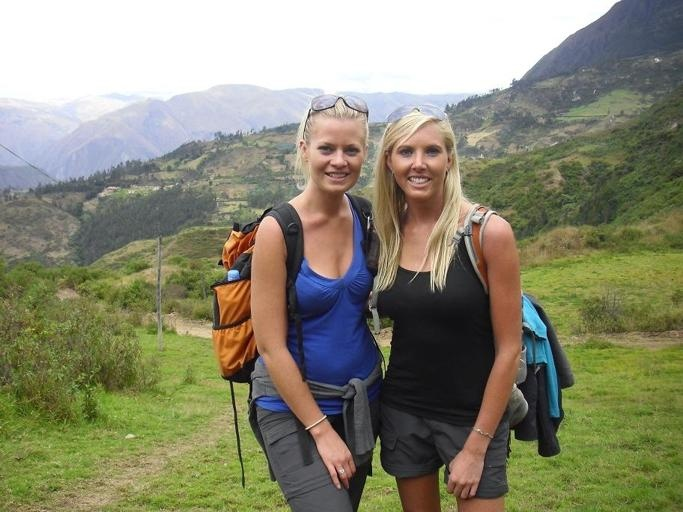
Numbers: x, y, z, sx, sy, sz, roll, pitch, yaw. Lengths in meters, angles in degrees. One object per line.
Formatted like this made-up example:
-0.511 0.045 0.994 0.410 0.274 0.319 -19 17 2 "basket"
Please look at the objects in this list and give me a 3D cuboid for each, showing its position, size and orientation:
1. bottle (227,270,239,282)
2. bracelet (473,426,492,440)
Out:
-0.939 0.172 4.800 0.100 0.089 0.097 1 6 -1 "bottle"
1.168 1.456 4.579 0.124 0.046 0.098 27 -2 4 "bracelet"
